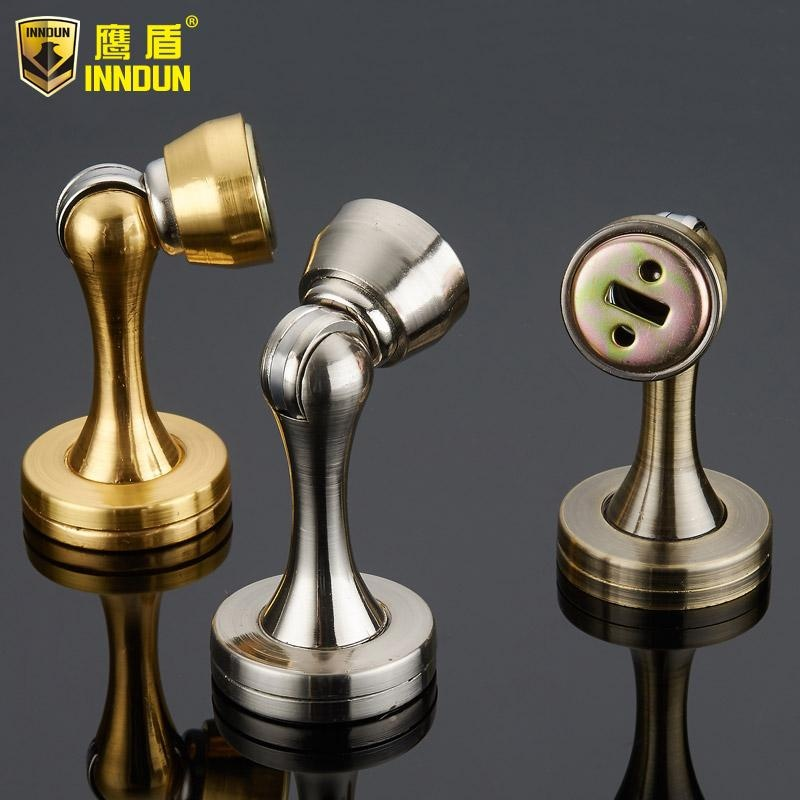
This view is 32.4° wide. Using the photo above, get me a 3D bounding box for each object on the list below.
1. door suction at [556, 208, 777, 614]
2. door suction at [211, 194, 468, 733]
[{"bbox_3d":[0.271,0.002,1.386,0.217,0.396,0.309,7,20,21],"label":"door suction"},{"bbox_3d":[-0.055,0.039,1.256,0.231,0.421,0.330,0,19,3],"label":"door suction"}]
